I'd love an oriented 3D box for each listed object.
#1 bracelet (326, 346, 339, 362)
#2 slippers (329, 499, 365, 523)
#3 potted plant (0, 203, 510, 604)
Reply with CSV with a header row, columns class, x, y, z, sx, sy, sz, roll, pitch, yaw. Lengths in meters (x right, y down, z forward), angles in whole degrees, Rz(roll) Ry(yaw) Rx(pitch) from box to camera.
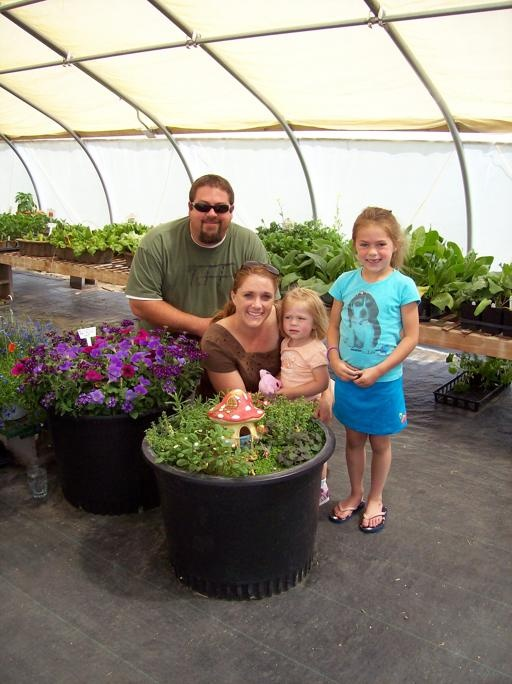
class,x,y,z,sx,sy,sz,roll,pitch,yaw
bracelet,0.358,0.058,2.398,0.064,0.059,0.068,-5,16,2
slippers,0.457,0.858,2.620,0.184,0.045,0.071,-4,9,-43
potted plant,-0.188,0.299,2.541,1.365,0.736,1.610,5,14,4
